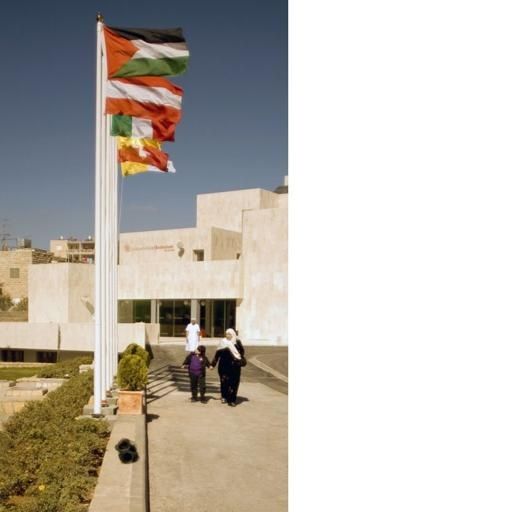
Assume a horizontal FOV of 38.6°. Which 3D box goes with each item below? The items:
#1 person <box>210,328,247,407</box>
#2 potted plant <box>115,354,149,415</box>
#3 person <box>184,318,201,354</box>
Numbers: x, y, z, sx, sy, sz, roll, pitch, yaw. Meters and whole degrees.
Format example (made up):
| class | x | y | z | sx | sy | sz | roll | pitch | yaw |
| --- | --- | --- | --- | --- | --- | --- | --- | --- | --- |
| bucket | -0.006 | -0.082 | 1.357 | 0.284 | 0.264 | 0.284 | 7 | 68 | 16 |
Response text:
| class | x | y | z | sx | sy | sz | roll | pitch | yaw |
| --- | --- | --- | --- | --- | --- | --- | --- | --- | --- |
| person | -0.642 | 2.185 | 14.562 | 0.628 | 1.457 | 1.003 | -1 | -3 | -3 |
| potted plant | -2.129 | 2.112 | 12.227 | 0.487 | 0.933 | 0.708 | 0 | -3 | -12 |
| person | -1.666 | 1.939 | 18.201 | 0.319 | 0.966 | 0.258 | 0 | 29 | -2 |
